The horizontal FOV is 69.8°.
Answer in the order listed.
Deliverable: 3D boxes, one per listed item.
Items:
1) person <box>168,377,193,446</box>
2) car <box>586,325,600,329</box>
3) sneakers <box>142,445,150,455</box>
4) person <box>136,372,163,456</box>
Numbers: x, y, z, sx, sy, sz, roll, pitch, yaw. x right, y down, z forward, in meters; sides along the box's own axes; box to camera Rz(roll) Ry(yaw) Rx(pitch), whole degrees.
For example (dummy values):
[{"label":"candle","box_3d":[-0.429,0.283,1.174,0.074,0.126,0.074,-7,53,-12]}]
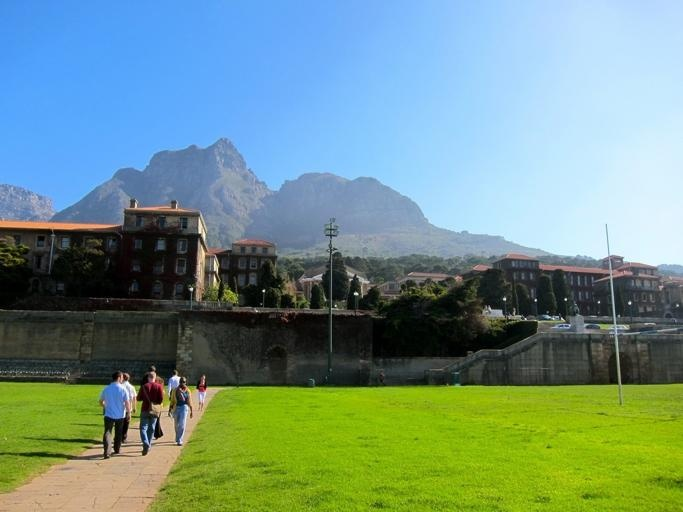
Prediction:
[{"label":"person","box_3d":[-6.184,5.939,18.783,0.727,2.430,1.336,4,-9,-19]},{"label":"car","box_3d":[36.134,10.254,70.541,1.563,0.726,4.084,-4,-10,29]},{"label":"sneakers","box_3d":[-6.736,6.741,16.950,0.161,0.469,0.198,11,6,-16]},{"label":"person","box_3d":[-6.716,5.534,17.166,0.770,2.788,0.686,4,-9,-23]}]
